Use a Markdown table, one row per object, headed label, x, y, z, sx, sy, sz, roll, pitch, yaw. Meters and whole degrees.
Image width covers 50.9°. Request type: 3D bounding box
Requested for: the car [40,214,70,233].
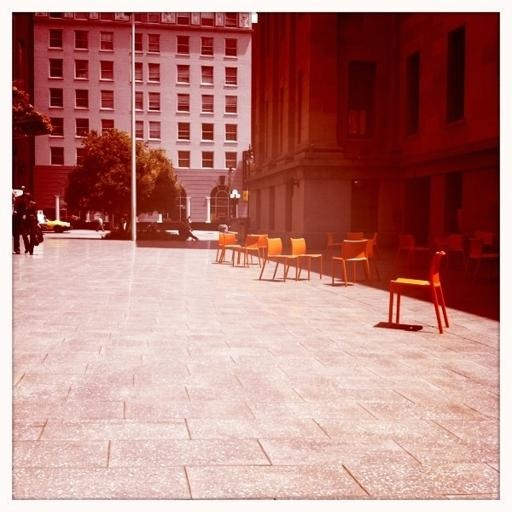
| label | x | y | z | sx | sy | sz | roll | pitch | yaw |
| --- | --- | --- | --- | --- | --- | --- | --- | --- | --- |
| car | -17.978 | -2.871 | 48.382 | 2.587 | 1.050 | 1.685 | 1 | 4 | 25 |
